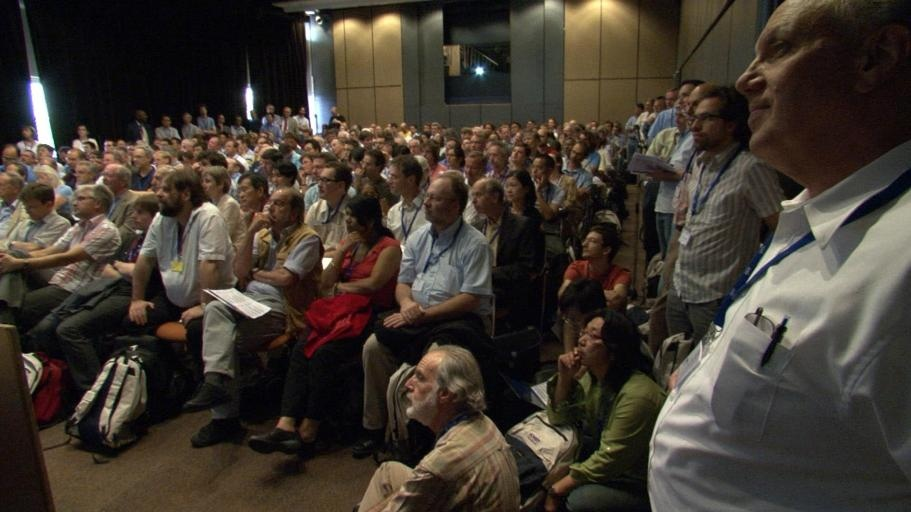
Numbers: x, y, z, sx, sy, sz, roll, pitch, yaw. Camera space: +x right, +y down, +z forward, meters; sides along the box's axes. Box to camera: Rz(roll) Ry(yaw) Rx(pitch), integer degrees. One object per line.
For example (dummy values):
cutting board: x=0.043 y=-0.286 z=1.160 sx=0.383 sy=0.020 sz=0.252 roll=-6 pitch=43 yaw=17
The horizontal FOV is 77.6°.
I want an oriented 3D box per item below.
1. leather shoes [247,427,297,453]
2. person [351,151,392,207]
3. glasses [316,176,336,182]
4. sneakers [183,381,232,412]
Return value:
leather shoes: x=-1.230 y=1.229 z=3.767 sx=0.363 sy=0.140 sz=0.157 roll=7 pitch=34 yaw=-10
person: x=-0.885 y=-0.710 z=6.263 sx=0.424 sy=0.809 sz=0.406 roll=-2 pitch=-10 yaw=12
glasses: x=-1.154 y=-0.681 z=5.045 sx=0.155 sy=0.050 sz=0.053 roll=2 pitch=11 yaw=22
sneakers: x=-1.724 y=0.993 z=4.019 sx=0.344 sy=0.181 sz=0.154 roll=-6 pitch=6 yaw=-43
